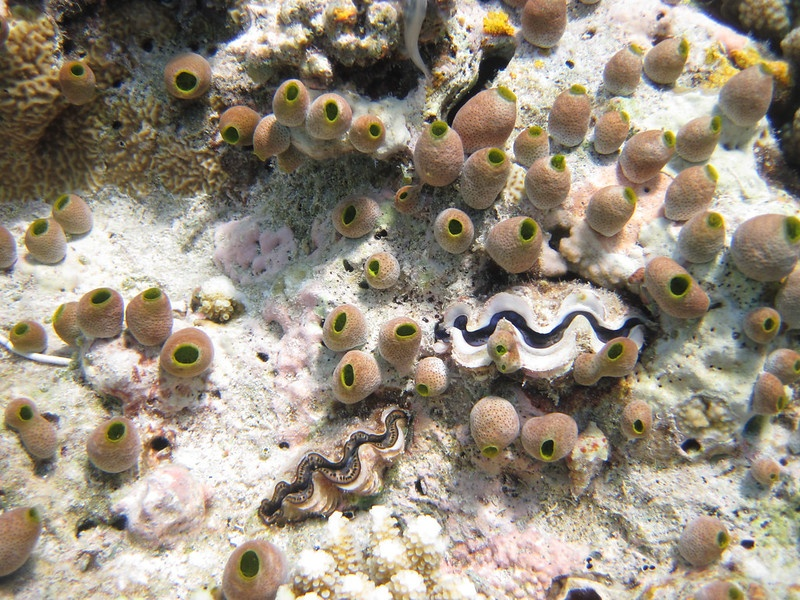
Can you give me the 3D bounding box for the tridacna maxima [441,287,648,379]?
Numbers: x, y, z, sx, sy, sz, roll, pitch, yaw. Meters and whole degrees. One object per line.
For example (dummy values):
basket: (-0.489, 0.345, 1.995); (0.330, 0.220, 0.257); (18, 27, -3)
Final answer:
tridacna maxima: (1.018, 0.231, 5.941); (1.136, 0.419, 0.751); (3, 88, 10)
